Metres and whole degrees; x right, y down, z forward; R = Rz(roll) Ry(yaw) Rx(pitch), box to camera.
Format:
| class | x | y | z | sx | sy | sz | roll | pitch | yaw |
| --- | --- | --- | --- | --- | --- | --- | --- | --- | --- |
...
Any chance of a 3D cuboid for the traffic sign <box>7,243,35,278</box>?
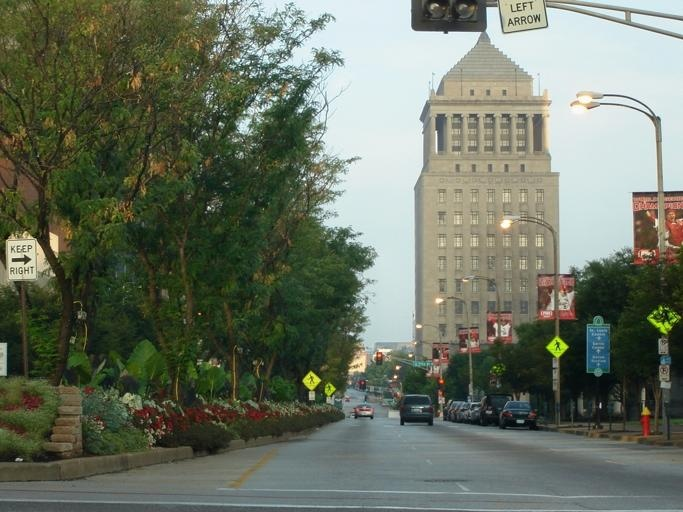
| class | x | y | z | sx | sy | sz | roll | pitch | yaw |
| --- | --- | --- | --- | --- | --- | --- | --- | --- | --- |
| traffic sign | -9.356 | 0.059 | 46.510 | 0.833 | 1.327 | 0.139 | 2 | -2 | -5 |
